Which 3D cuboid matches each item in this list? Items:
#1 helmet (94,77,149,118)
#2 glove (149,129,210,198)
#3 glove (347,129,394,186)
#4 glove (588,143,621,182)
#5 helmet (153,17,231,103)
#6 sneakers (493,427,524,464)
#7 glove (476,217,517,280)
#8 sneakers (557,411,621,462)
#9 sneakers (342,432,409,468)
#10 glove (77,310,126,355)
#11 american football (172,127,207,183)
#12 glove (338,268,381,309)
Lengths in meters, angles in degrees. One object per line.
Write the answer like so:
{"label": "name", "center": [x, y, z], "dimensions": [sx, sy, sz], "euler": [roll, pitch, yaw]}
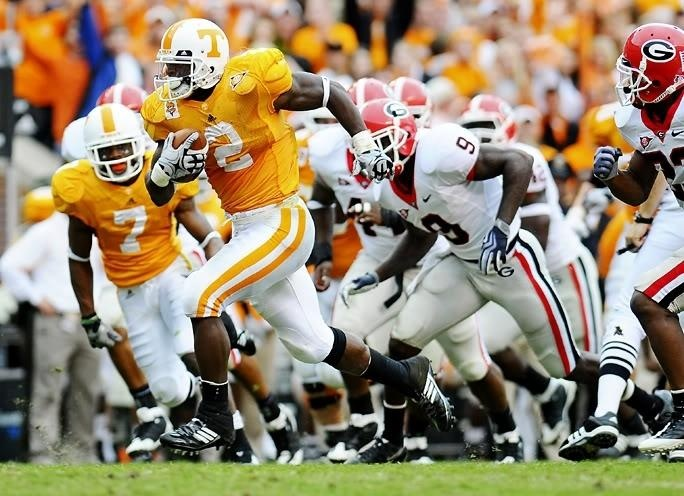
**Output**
{"label": "helmet", "center": [-1.607, -1.118, 6.429], "dimensions": [0.383, 0.314, 0.333], "euler": [7, 4, 11]}
{"label": "glove", "center": [-0.909, -0.456, 4.836], "dimensions": [0.422, 0.250, 0.211], "euler": [-49, -3, 31]}
{"label": "glove", "center": [0.151, -0.488, 4.794], "dimensions": [0.188, 0.321, 0.135], "euler": [-24, -15, -20]}
{"label": "glove", "center": [1.520, -0.494, 5.032], "dimensions": [0.091, 0.208, 0.154], "euler": [23, -30, 13]}
{"label": "helmet", "center": [-0.856, -1.051, 4.848], "dimensions": [0.466, 0.451, 0.342], "euler": [-7, 4, -30]}
{"label": "sneakers", "center": [1.160, 1.446, 6.061], "dimensions": [0.116, 0.377, 0.153], "euler": [-12, -19, 32]}
{"label": "glove", "center": [0.913, 0.013, 5.059], "dimensions": [0.203, 0.348, 0.129], "euler": [6, 0, 39]}
{"label": "sneakers", "center": [1.454, 1.133, 5.104], "dimensions": [0.178, 0.222, 0.462], "euler": [31, -42, -14]}
{"label": "sneakers", "center": [0.241, 1.374, 5.790], "dimensions": [0.459, 0.214, 0.152], "euler": [3, -10, -29]}
{"label": "glove", "center": [-1.580, 0.572, 5.692], "dimensions": [0.204, 0.274, 0.141], "euler": [-36, -11, -47]}
{"label": "american football", "center": [-0.829, -0.504, 4.712], "dimensions": [0.140, 0.180, 0.242], "euler": [-6, -51, -35]}
{"label": "glove", "center": [0.106, 0.251, 5.667], "dimensions": [0.248, 0.106, 0.187], "euler": [-35, 4, -1]}
